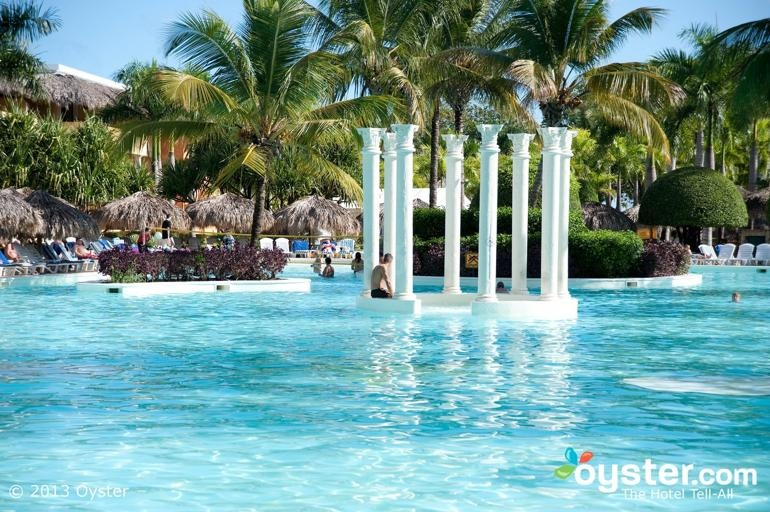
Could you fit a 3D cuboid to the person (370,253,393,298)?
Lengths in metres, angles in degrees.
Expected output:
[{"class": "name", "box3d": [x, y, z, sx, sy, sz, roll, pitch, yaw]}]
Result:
[{"class": "person", "box3d": [-0.077, 0.502, 17.712, 0.574, 1.125, 1.030, 1, -1, -1]}]

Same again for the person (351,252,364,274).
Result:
[{"class": "person", "box3d": [-1.230, 0.294, 31.123, 0.385, 0.937, 1.463, 1, -1, -5]}]

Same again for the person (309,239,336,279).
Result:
[{"class": "person", "box3d": [-3.317, 0.174, 36.836, 1.372, 2.970, 1.188, 0, 10, -14]}]
